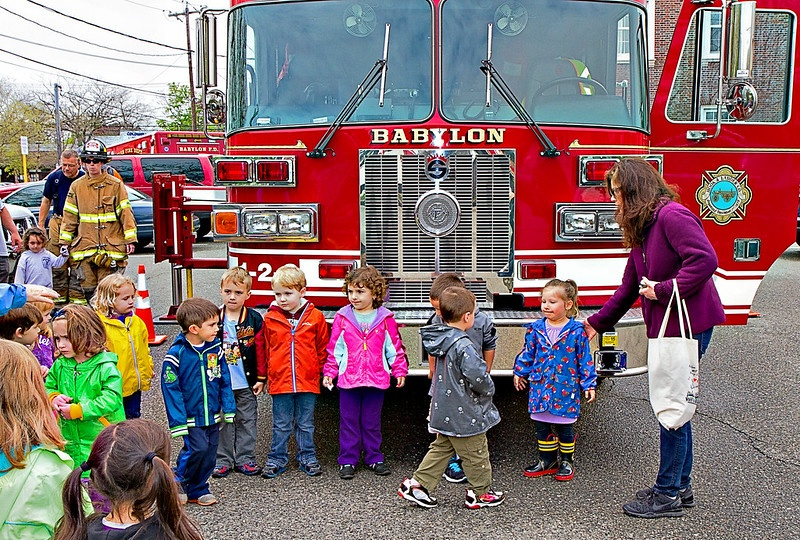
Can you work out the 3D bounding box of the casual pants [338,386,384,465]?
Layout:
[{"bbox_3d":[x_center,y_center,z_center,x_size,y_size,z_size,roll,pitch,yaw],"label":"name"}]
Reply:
[{"bbox_3d":[-0.324,1.153,7.056,0.375,0.813,0.266,-1,30,-6],"label":"casual pants"}]

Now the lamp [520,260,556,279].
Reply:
[{"bbox_3d":[1.208,-0.005,7.708,0.327,0.160,0.049,-2,11,-9],"label":"lamp"}]

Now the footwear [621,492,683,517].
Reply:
[{"bbox_3d":[1.847,1.706,6.465,0.419,0.200,0.176,1,-5,3],"label":"footwear"}]

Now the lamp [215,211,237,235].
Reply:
[{"bbox_3d":[-1.545,-0.418,7.815,0.200,0.208,0.068,-3,0,8],"label":"lamp"}]

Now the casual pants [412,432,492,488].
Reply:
[{"bbox_3d":[0.403,1.426,6.586,0.451,0.439,0.184,4,-1,7],"label":"casual pants"}]

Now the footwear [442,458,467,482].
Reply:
[{"bbox_3d":[0.406,1.575,6.968,0.112,0.134,0.289,1,-6,-23],"label":"footwear"}]

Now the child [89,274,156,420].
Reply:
[{"bbox_3d":[-2.198,0.683,7.031,0.433,1.316,0.404,-4,17,-22],"label":"child"}]

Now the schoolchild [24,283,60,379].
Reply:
[{"bbox_3d":[-2.552,0.445,6.254,0.205,0.254,0.645,-16,-27,-28],"label":"schoolchild"}]

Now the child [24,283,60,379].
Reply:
[{"bbox_3d":[-2.552,0.445,6.254,0.205,0.254,0.645,-16,-27,-28],"label":"child"}]

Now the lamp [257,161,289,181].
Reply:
[{"bbox_3d":[-1.116,-0.865,7.732,0.302,0.169,0.057,3,11,18],"label":"lamp"}]

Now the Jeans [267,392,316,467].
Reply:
[{"bbox_3d":[-0.856,1.203,7.077,0.406,0.884,0.238,2,20,-7],"label":"Jeans"}]

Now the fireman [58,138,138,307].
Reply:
[{"bbox_3d":[-3.347,-0.511,9.674,0.815,1.791,0.484,-4,11,-15],"label":"fireman"}]

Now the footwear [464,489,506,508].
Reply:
[{"bbox_3d":[0.630,1.690,6.588,0.309,0.155,0.123,-2,3,-13],"label":"footwear"}]

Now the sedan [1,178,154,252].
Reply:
[{"bbox_3d":[-6.986,-1.194,18.221,3.467,1.288,1.643,-1,2,-5],"label":"sedan"}]

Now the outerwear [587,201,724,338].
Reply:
[{"bbox_3d":[1.940,-0.016,6.593,0.641,0.997,1.013,-9,3,-37],"label":"outerwear"}]

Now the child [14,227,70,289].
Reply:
[{"bbox_3d":[-3.924,-0.129,9.687,0.303,0.864,0.525,12,17,43],"label":"child"}]

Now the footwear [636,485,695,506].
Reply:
[{"bbox_3d":[1.959,1.631,6.550,0.459,0.204,0.171,1,-1,-3],"label":"footwear"}]

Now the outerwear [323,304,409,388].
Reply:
[{"bbox_3d":[-0.273,0.613,7.017,0.658,0.657,0.285,0,-5,-5],"label":"outerwear"}]

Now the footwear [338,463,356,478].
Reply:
[{"bbox_3d":[-0.419,1.572,6.957,0.138,0.100,0.133,-2,11,-5],"label":"footwear"}]

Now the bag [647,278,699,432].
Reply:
[{"bbox_3d":[1.943,0.601,6.238,0.346,1.073,0.247,2,11,16],"label":"bag"}]

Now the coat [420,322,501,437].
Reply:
[{"bbox_3d":[0.455,0.796,6.654,0.561,0.787,0.584,-4,7,-27],"label":"coat"}]

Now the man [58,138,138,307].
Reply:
[{"bbox_3d":[-3.347,-0.511,9.674,0.815,1.791,0.483,-4,11,-15],"label":"man"}]

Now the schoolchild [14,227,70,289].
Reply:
[{"bbox_3d":[-3.924,-0.129,9.687,0.303,0.864,0.525,12,17,43],"label":"schoolchild"}]
